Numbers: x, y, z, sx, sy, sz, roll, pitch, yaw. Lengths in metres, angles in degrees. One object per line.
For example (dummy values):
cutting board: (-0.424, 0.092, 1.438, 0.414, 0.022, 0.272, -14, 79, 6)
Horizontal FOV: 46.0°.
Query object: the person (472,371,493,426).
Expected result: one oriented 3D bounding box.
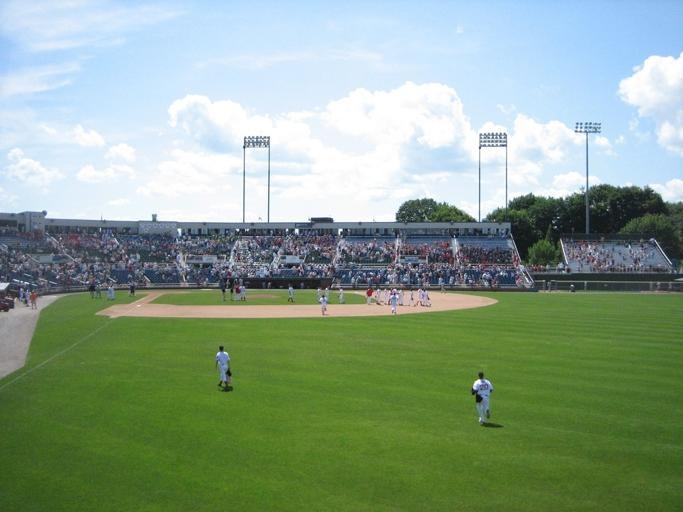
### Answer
person: (5.942, 6.029, 34.022, 0.667, 2.015, 0.885, 2, 4, 39)
